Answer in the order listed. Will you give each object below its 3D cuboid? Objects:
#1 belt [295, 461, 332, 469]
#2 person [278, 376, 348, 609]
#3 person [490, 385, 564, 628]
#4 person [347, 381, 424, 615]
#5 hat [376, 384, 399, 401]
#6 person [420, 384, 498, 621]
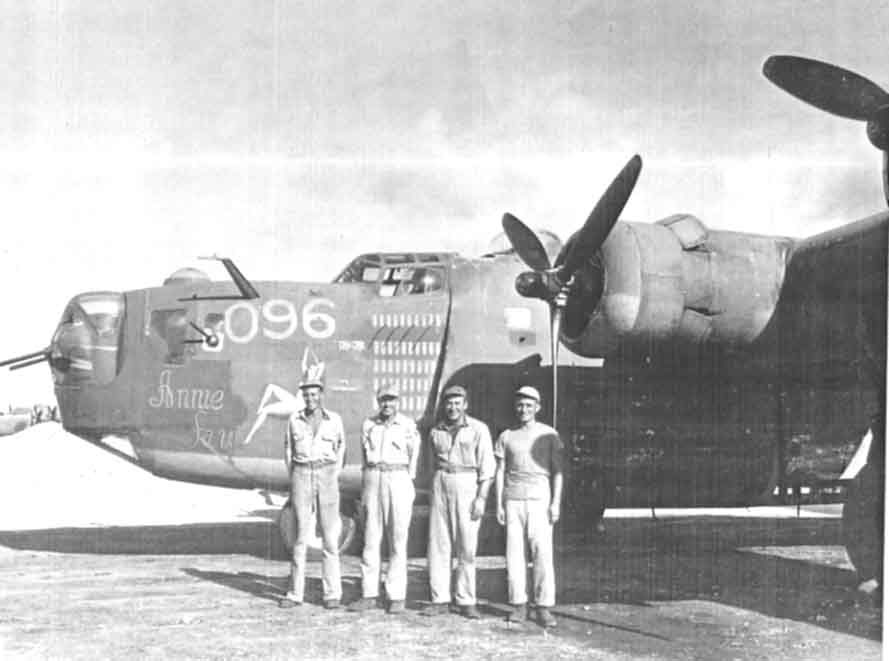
[{"bbox_3d":[-1.457,1.473,19.441,0.430,0.112,0.067,2,-3,-7],"label":"belt"},{"bbox_3d":[-1.457,1.806,19.501,0.686,2.488,0.414,2,-3,-3],"label":"person"},{"bbox_3d":[0.902,1.928,19.272,0.736,2.611,0.313,2,-3,2],"label":"person"},{"bbox_3d":[-0.658,1.849,19.374,0.666,2.470,0.340,2,-3,-2],"label":"person"},{"bbox_3d":[-0.641,0.716,19.608,0.164,0.174,0.195,-10,-42,8],"label":"hat"},{"bbox_3d":[0.173,1.884,19.372,0.735,2.494,0.453,2,-3,7],"label":"person"}]
